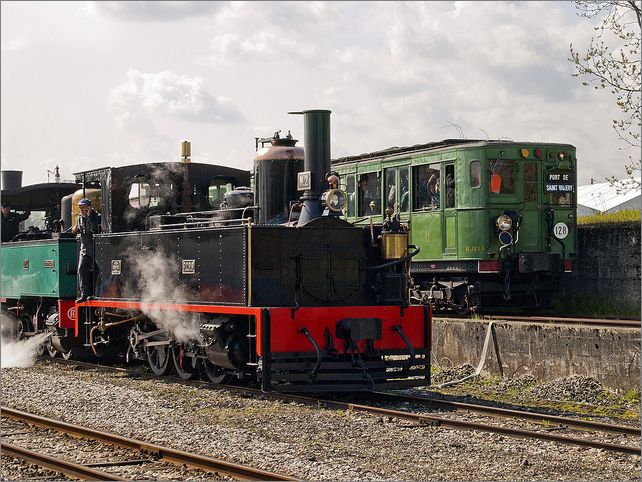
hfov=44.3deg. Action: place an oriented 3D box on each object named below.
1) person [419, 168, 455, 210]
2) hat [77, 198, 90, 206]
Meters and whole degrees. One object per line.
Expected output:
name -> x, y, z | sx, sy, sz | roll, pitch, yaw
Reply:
person -> 2.723, -1.227, 18.866 | 0.867, 1.336, 0.835 | 0, -1, -36
hat -> -4.909, -0.763, 16.253 | 0.165, 0.133, 0.236 | 0, 4, -29
